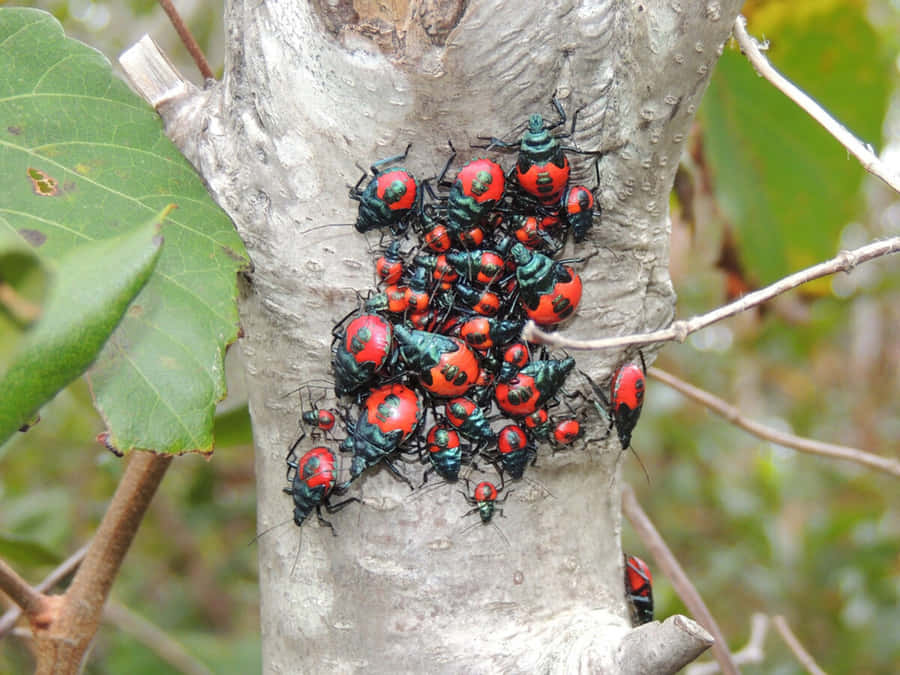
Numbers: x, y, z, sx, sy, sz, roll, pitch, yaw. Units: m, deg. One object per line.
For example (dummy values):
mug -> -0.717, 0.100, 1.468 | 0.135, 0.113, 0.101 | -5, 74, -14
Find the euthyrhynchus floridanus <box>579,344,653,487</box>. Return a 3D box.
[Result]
euthyrhynchus floridanus -> 0.562, 0.226, 3.551 | 0.224, 0.087, 0.324 | -13, 109, -32
